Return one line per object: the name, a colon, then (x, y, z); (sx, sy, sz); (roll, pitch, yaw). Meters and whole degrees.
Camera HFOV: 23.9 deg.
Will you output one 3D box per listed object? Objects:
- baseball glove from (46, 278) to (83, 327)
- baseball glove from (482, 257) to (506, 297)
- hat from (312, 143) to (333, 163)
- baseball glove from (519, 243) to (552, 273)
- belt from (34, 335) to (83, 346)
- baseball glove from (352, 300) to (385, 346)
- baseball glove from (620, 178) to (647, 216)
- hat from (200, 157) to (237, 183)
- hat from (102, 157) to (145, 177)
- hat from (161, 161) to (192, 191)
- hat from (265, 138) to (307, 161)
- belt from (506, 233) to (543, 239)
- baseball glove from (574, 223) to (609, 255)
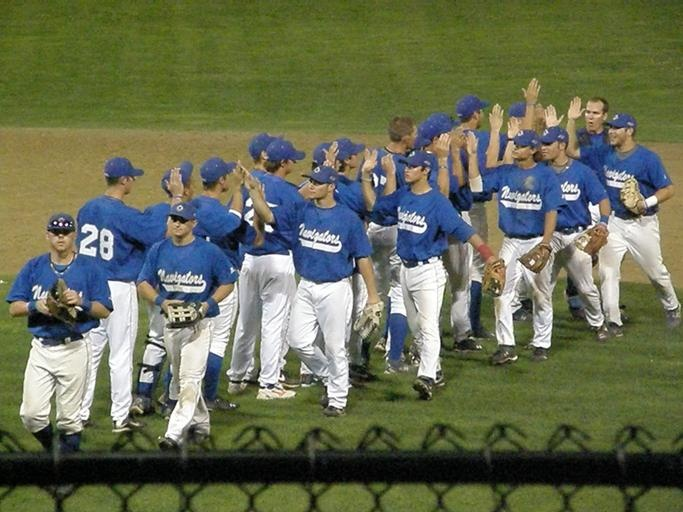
baseball glove: (-3.647, 0.599, 21.112); (0.214, 0.532, 0.418); (-12, -23, 23)
baseball glove: (2.187, 0.295, 23.090); (0.355, 0.492, 0.496); (-3, -16, 3)
hat: (-0.290, -1.521, 23.911); (0.132, 0.323, 0.257); (-1, 10, 16)
baseball glove: (2.870, 0.016, 23.555); (0.446, 0.371, 0.161); (-45, -16, -8)
belt: (-3.753, 1.105, 21.343); (0.623, 0.103, 0.138); (-2, 2, 1)
baseball glove: (0.387, 0.875, 22.617); (0.265, 0.125, 0.423); (-8, 40, 46)
baseball glove: (4.466, -0.916, 24.516); (0.402, 0.494, 0.223); (10, -31, -42)
hat: (-1.777, -1.214, 22.939); (0.310, 0.251, 0.492); (22, 50, 39)
hat: (-3.069, -1.233, 22.634); (0.491, 0.228, 0.294); (-8, 20, -27)
hat: (-2.369, -1.132, 23.068); (0.425, 0.326, 0.706); (-3, 2, -5)
hat: (-0.825, -1.518, 23.388); (0.501, 0.233, 0.310); (-3, 30, -14)
belt: (2.725, -0.295, 23.961); (0.519, 0.086, 0.105); (-2, 2, 25)
baseball glove: (3.754, -0.275, 23.928); (0.537, 0.326, 0.220); (-43, -14, -32)
